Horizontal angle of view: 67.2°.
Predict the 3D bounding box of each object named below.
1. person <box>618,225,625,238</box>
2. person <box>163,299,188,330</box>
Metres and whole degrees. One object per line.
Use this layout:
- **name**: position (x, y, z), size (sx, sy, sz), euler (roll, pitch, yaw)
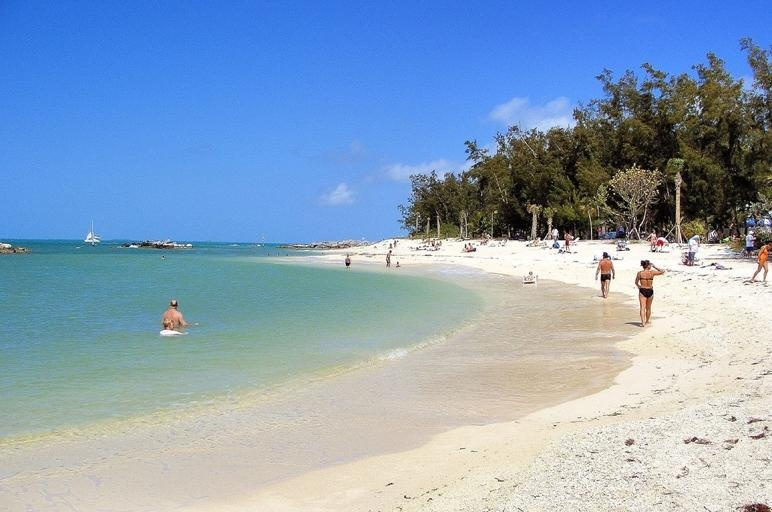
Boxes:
- **person**: position (27.499, -2.746, 67.461), size (0.784, 1.312, 2.230), euler (0, 1, 20)
- **person**: position (-9.328, 2.624, 25.615), size (1.078, 1.147, 0.871), euler (2, 25, -8)
